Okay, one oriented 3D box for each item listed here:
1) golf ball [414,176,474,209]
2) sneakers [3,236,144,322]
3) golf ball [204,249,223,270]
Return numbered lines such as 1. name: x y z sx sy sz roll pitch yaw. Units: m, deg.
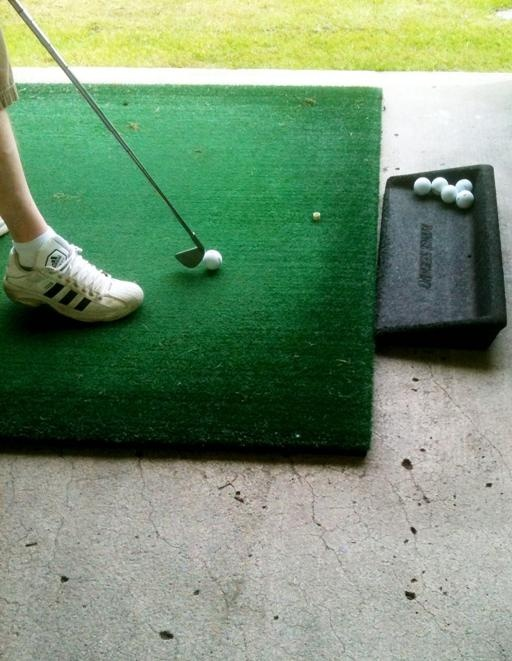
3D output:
1. golf ball: 0.571 -0.411 1.997 0.161 0.057 0.144 -1 38 -1
2. sneakers: -0.479 -0.113 1.719 0.476 0.212 0.138 10 54 -14
3. golf ball: -0.125 -0.199 1.877 0.067 0.059 0.059 -2 10 -9
